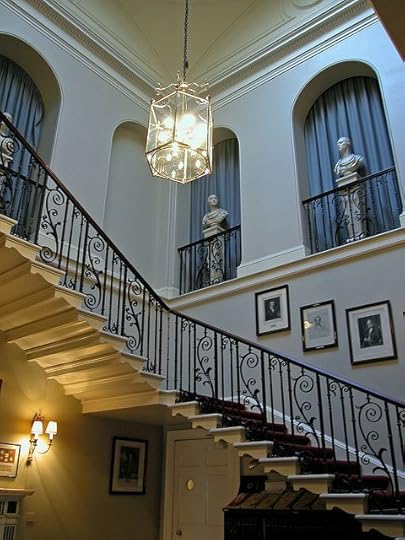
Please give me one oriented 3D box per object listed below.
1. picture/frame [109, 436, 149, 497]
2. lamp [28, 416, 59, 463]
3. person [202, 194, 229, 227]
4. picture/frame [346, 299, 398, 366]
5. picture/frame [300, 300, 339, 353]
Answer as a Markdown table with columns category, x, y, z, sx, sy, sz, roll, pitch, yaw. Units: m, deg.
| category | x | y | z | sx | sy | sz | roll | pitch | yaw |
| --- | --- | --- | --- | --- | --- | --- | --- | --- | --- |
| picture/frame | -1.152 | 2.996 | 5.783 | 0.062 | 0.853 | 0.818 | -19 | -38 | 28 |
| lamp | -2.015 | 2.117 | 4.747 | 0.192 | 0.601 | 0.352 | -20 | -39 | 25 |
| person | 0.264 | -1.238 | 8.210 | 0.550 | 0.912 | 0.435 | -10 | -22 | 16 |
| picture/frame | 2.156 | 0.808 | 4.788 | 0.054 | 0.830 | 0.620 | 26 | -39 | -32 |
| picture/frame | 1.654 | 0.808 | 5.341 | 0.586 | 0.780 | 0.056 | -23 | -40 | 38 |
